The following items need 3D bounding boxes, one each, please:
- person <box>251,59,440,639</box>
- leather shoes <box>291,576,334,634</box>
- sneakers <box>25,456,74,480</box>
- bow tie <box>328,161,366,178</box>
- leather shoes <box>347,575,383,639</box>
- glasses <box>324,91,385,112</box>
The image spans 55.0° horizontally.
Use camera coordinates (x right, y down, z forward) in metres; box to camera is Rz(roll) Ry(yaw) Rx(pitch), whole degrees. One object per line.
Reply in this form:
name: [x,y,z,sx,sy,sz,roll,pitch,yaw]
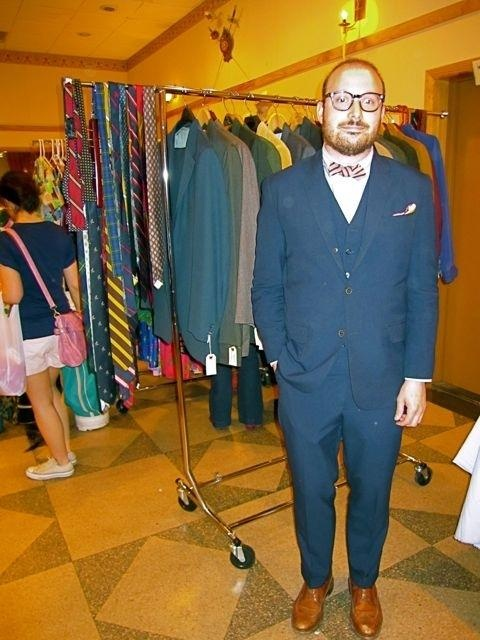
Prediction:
person: [0.263,0.146,1.226,0.464,1.532,0.253,-1,8,4]
leather shoes: [0.219,0.834,1.403,0.060,0.084,0.181,4,19,23]
sneakers: [-0.959,0.753,2.351,0.223,0.104,0.099,2,-1,-9]
bow tie: [0.250,-0.343,1.089,0.087,0.037,0.037,8,8,9]
leather shoes: [0.359,0.841,1.333,0.058,0.073,0.170,-4,29,5]
glasses: [0.262,-0.498,1.057,0.134,0.058,0.053,-1,9,8]
